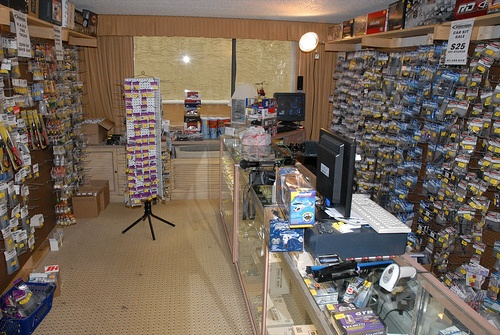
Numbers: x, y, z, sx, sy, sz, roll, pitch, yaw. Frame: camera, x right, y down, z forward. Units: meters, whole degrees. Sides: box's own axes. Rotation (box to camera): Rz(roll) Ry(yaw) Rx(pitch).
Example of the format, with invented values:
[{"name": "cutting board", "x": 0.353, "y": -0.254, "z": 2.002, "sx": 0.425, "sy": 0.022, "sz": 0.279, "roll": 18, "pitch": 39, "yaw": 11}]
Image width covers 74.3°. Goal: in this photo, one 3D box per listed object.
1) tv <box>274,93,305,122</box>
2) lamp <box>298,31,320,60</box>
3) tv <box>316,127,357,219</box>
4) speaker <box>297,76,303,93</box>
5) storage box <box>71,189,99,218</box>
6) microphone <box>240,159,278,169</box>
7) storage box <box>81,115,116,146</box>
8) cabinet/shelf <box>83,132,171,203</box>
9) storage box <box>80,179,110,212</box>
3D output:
[{"name": "tv", "x": 0.892, "y": -1.287, "z": 7.181, "sx": 0.732, "sy": 0.630, "sz": 0.226, "roll": -4, "pitch": 17, "yaw": -13}, {"name": "lamp", "x": 1.217, "y": -2.436, "z": 6.665, "sx": 0.494, "sy": 0.486, "sz": 0.191, "roll": 20, "pitch": 24, "yaw": 21}, {"name": "tv", "x": 0.708, "y": 0.038, "z": 2.755, "sx": 0.185, "sy": 0.627, "sz": 0.473, "roll": -5, "pitch": 18, "yaw": -16}, {"name": "speaker", "x": 1.148, "y": -1.898, "z": 7.520, "sx": 0.112, "sy": 0.332, "sz": 0.086, "roll": -2, "pitch": 17, "yaw": -8}, {"name": "storage box", "x": -2.847, "y": 0.638, "z": 5.836, "sx": 0.431, "sy": 0.434, "sz": 0.442, "roll": 0, "pitch": 1, "yaw": -9}, {"name": "microphone", "x": 0.100, "y": -0.034, "z": 3.776, "sx": 0.389, "sy": 0.104, "sz": 0.089, "roll": 1, "pitch": 17, "yaw": 0}, {"name": "storage box", "x": -2.877, "y": -0.708, "z": 6.298, "sx": 0.532, "sy": 0.261, "sz": 0.520, "roll": 0, "pitch": 16, "yaw": -7}, {"name": "cabinet/shelf", "x": -2.118, "y": -0.015, "z": 5.564, "sx": 1.282, "sy": 1.075, "sz": 0.453, "roll": -1, "pitch": 6, "yaw": -7}, {"name": "storage box", "x": -2.821, "y": 0.477, "z": 6.080, "sx": 0.508, "sy": 0.373, "sz": 0.508, "roll": -2, "pitch": 17, "yaw": -12}]
